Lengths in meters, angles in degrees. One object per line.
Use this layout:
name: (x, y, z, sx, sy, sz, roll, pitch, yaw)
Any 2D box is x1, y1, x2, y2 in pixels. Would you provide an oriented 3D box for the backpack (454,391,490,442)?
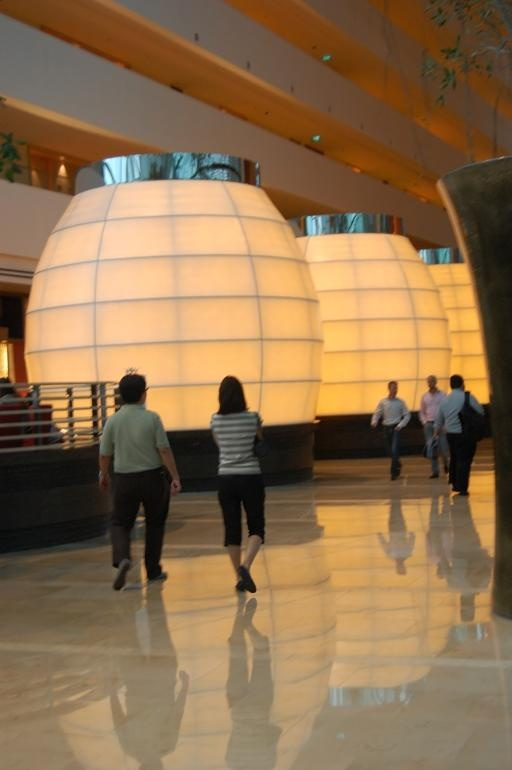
backpack: (3.676, 0.529, 10.258, 0.492, 0.854, 0.332, -8, -9, 39)

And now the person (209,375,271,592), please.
person: (-0.146, 0.863, 5.441, 0.381, 1.902, 0.407, 1, -8, -27)

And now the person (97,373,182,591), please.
person: (-1.111, 0.920, 5.839, 0.774, 2.059, 0.650, -5, -7, 20)
